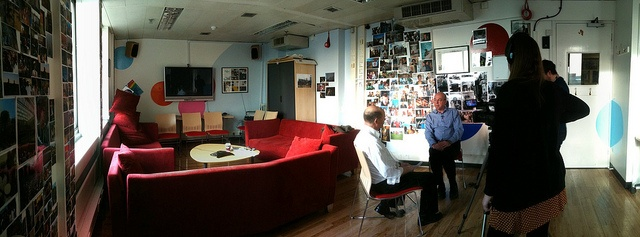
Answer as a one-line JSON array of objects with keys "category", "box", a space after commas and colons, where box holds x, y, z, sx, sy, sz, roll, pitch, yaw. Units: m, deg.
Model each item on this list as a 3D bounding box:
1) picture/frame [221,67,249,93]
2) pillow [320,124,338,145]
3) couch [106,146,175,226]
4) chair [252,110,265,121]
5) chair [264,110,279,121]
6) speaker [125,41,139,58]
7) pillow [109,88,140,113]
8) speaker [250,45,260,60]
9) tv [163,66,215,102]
[{"category": "picture/frame", "box": [-3.560, -1.596, 14.479, 1.043, 0.689, 0.040, -3, 9, -24]}, {"category": "pillow", "box": [0.271, 0.512, 10.807, 0.324, 0.639, 0.688, 7, -7, -33]}, {"category": "couch", "box": [-4.881, 1.593, 9.557, 2.322, 1.691, 1.988, -3, 11, -27]}, {"category": "chair", "box": [-2.441, -0.127, 14.015, 0.494, 0.570, 0.429, 2, 3, 14]}, {"category": "chair", "box": [-1.936, -0.117, 13.560, 0.422, 0.405, 0.418, 2, 2, 23]}, {"category": "speaker", "box": [-7.225, -2.636, 13.274, 0.481, 0.609, 0.168, -6, 7, -20]}, {"category": "pillow", "box": [-6.568, -0.578, 11.550, 0.660, 0.746, 0.804, -4, 6, 1]}, {"category": "speaker", "box": [-2.705, -2.770, 14.549, 0.401, 0.610, 0.326, -4, 7, 2]}, {"category": "tv", "box": [-5.339, -1.404, 13.881, 2.143, 1.011, 0.243, -1, 8, -17]}]
